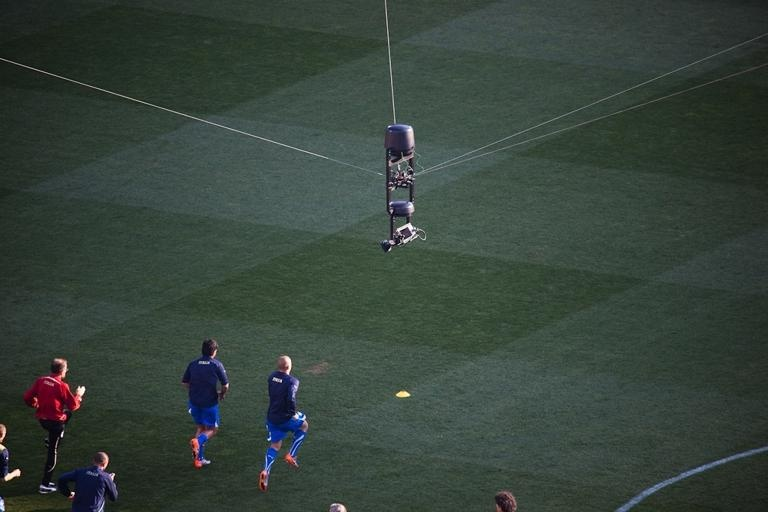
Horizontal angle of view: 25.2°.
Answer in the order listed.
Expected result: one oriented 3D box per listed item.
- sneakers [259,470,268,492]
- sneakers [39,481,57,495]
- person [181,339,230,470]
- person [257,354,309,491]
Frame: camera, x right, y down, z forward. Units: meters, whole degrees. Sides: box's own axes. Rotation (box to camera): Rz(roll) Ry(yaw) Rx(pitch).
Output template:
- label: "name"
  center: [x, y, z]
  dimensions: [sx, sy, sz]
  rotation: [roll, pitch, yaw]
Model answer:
- label: "sneakers"
  center: [-2.479, 4.730, 35.766]
  dimensions: [0.216, 0.395, 0.220]
  rotation: [4, 4, 9]
- label: "sneakers"
  center: [-6.992, 4.885, 35.633]
  dimensions: [0.471, 0.159, 0.167]
  rotation: [-5, 32, -36]
- label: "person"
  center: [-3.824, 3.171, 36.523]
  dimensions: [0.942, 2.765, 1.410]
  rotation: [6, -8, -2]
- label: "person"
  center: [-2.053, 3.592, 36.343]
  dimensions: [0.927, 2.848, 1.572]
  rotation: [5, -8, -2]
